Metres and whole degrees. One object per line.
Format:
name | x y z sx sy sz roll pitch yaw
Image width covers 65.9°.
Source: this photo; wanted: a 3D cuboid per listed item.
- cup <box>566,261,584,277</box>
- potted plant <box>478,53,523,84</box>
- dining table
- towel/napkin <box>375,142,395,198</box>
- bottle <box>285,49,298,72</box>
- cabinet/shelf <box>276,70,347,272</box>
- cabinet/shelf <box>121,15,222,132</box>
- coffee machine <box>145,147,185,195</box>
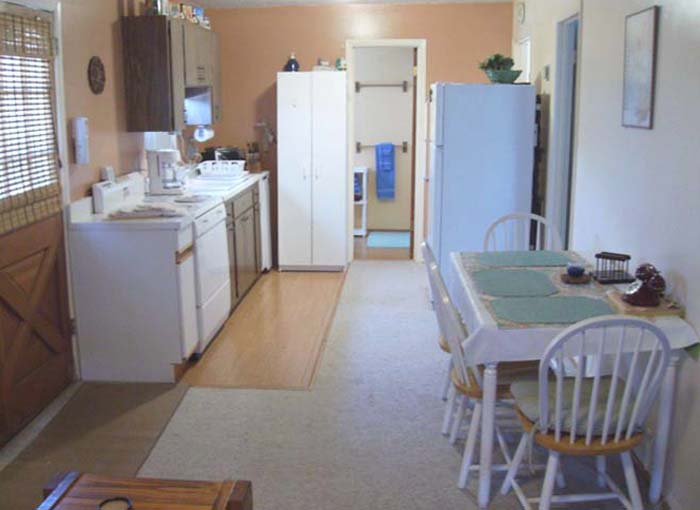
cup | 1.232 0.073 2.930 0.074 0.053 0.080 -1 11 0
potted plant | 1.322 -1.581 4.784 0.308 0.188 0.304 -1 7 -13
dining table | 1.054 0.734 2.850 0.926 0.675 1.344 1 17 2
towel/napkin | 0.523 -1.179 7.752 0.300 0.814 0.288 0 15 4
bottle | -0.649 -2.154 6.071 0.183 0.233 0.324 -3 14 -10
cabinet/shelf | -0.376 -0.916 6.312 0.823 2.188 0.532 -1 -1 9
cabinet/shelf | -1.534 -1.532 4.566 0.353 0.776 1.241 2 19 2
coffee machine | -1.561 -0.697 4.599 0.327 0.369 0.272 2 13 -4
